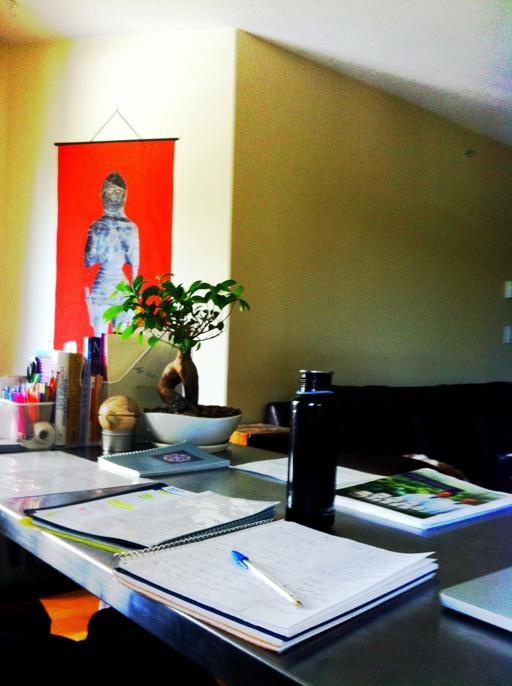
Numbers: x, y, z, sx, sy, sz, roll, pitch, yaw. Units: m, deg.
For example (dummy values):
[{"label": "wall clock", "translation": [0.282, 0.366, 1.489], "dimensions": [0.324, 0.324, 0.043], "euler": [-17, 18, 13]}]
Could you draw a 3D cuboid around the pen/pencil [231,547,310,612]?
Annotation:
[{"label": "pen/pencil", "translation": [0.008, 0.218, 0.550], "dimensions": [0.019, 0.006, 0.066], "euler": [11, 10, -43]}]

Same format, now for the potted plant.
[{"label": "potted plant", "translation": [-0.190, 0.039, 1.503], "dimensions": [0.291, 0.331, 0.352], "euler": [9, -27, -33]}]

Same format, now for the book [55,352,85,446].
[{"label": "book", "translation": [-0.434, 0.139, 1.384], "dimensions": [0.085, 0.209, 0.240], "euler": [0, -1, -10]}]
